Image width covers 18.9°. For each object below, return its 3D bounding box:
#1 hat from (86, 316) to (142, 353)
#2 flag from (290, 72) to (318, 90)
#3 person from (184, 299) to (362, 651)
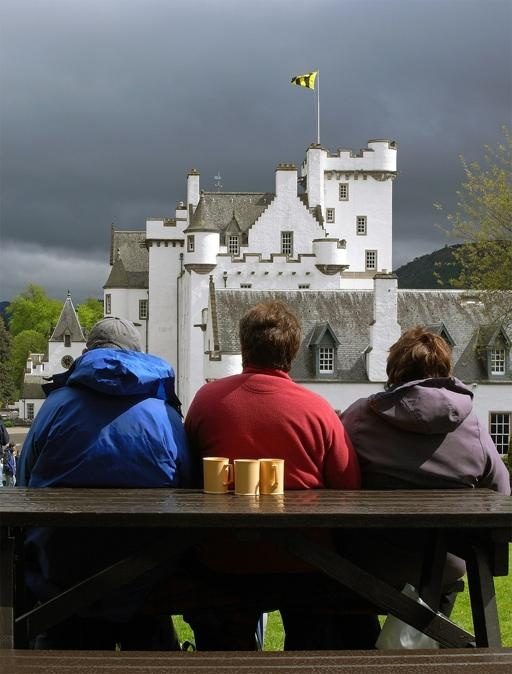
[{"bbox_3d":[-1.012,-0.029,11.071,0.225,0.199,0.347,6,7,4],"label":"hat"},{"bbox_3d":[1.898,-10.364,61.499,1.047,0.789,1.301,-1,-2,1],"label":"flag"},{"bbox_3d":[0.054,1.287,11.384,1.131,3.257,0.998,1,18,0],"label":"person"}]
